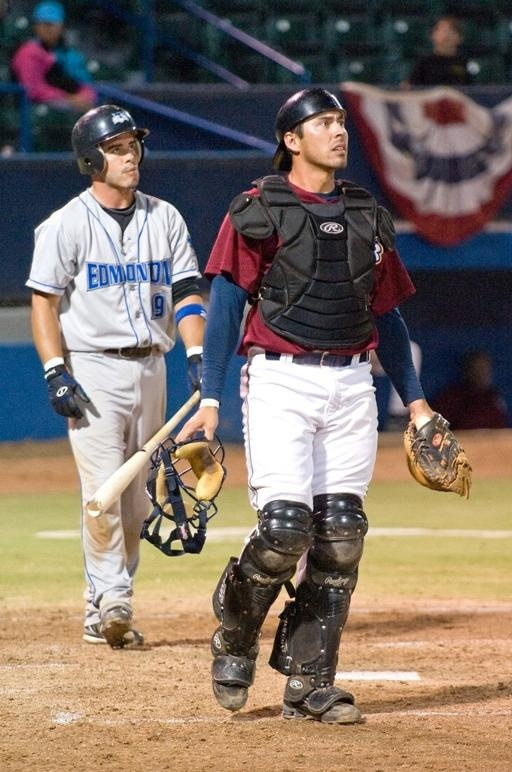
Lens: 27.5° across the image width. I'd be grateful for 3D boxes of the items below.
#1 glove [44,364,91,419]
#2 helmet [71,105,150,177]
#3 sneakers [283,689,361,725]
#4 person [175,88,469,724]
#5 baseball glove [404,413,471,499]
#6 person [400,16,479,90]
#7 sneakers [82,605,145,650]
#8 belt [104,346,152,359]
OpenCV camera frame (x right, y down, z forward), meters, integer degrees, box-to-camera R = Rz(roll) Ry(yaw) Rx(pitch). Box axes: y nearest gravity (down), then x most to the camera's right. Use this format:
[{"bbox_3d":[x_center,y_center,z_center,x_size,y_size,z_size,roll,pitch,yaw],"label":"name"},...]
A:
[{"bbox_3d":[-0.656,-0.001,3.651,0.188,0.083,0.295,11,21,-24],"label":"glove"},{"bbox_3d":[-0.537,-0.921,3.896,0.310,0.234,0.229,2,19,24],"label":"helmet"},{"bbox_3d":[0.182,0.858,2.818,0.191,0.072,0.093,-8,-9,33],"label":"sneakers"},{"bbox_3d":[0.175,0.027,2.877,0.783,1.744,0.439,-1,4,-13],"label":"person"},{"bbox_3d":[0.538,0.206,3.045,0.169,0.258,0.100,-32,-24,15],"label":"baseball glove"},{"bbox_3d":[1.760,-3.235,10.190,0.636,0.648,0.793,1,3,10],"label":"person"},{"bbox_3d":[-0.512,0.855,3.699,0.138,0.106,0.248,2,-10,-3],"label":"sneakers"},{"bbox_3d":[-0.435,-0.122,3.741,0.193,0.046,0.069,-2,3,-38],"label":"belt"}]
